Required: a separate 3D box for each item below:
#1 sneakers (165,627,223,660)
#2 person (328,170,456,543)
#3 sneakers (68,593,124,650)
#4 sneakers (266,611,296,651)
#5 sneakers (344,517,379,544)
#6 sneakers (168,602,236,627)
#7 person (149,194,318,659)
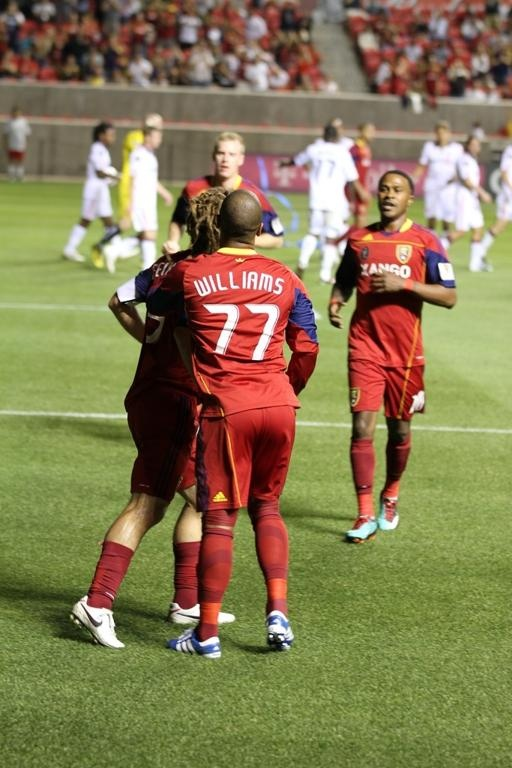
[{"bbox_3d":[-0.196,0.869,2.734,0.217,0.081,0.075,5,3,30],"label":"sneakers"},{"bbox_3d":[0.698,-0.173,4.280,0.584,1.923,0.659,4,9,-6],"label":"person"},{"bbox_3d":[-0.519,0.792,2.705,0.129,0.203,0.175,9,9,26],"label":"sneakers"},{"bbox_3d":[0.103,0.803,2.625,0.072,0.081,0.177,-3,-22,12],"label":"sneakers"},{"bbox_3d":[0.544,0.746,4.119,0.084,0.096,0.221,-1,-2,32],"label":"sneakers"},{"bbox_3d":[-0.195,0.866,3.080,0.328,0.107,0.098,0,0,-4],"label":"sneakers"},{"bbox_3d":[-0.057,0.146,2.682,0.577,1.558,0.516,2,9,-18],"label":"person"}]
